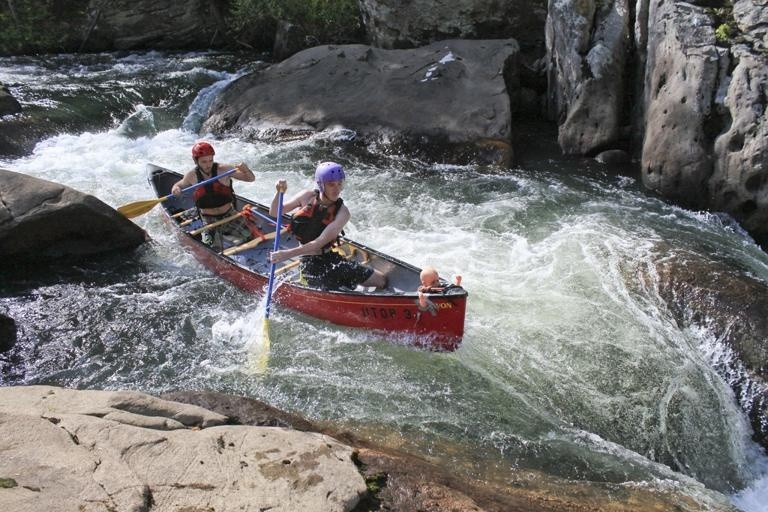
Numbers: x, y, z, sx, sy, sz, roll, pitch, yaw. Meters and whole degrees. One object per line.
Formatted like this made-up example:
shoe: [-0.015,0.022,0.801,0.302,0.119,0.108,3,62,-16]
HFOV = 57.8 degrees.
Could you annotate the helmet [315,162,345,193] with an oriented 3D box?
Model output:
helmet: [-0.908,-1.359,11.404,0.457,0.364,0.515,-7,36,-6]

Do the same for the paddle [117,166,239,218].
paddle: [-4.060,-1.241,13.772,3.184,0.445,0.140,-20,23,6]
